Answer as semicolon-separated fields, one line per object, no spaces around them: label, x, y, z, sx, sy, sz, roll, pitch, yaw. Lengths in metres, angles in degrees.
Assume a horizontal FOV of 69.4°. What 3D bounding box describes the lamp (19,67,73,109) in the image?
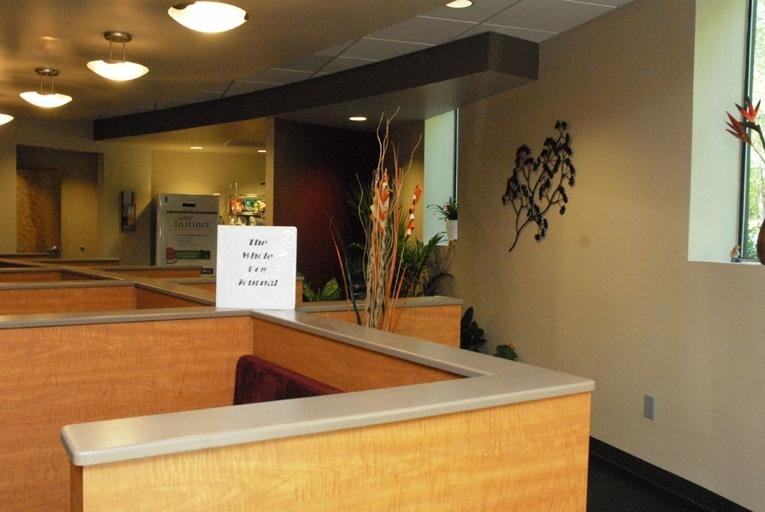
lamp;-3.738;-1.921;6.209;0.410;0.320;0.410;-1;8;-18

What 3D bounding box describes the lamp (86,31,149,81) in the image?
lamp;-2.428;-1.891;5.106;0.424;0.324;0.415;4;1;9

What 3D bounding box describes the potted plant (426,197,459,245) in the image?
potted plant;0.794;-0.421;6.649;0.510;0.567;0.558;-1;-5;1
